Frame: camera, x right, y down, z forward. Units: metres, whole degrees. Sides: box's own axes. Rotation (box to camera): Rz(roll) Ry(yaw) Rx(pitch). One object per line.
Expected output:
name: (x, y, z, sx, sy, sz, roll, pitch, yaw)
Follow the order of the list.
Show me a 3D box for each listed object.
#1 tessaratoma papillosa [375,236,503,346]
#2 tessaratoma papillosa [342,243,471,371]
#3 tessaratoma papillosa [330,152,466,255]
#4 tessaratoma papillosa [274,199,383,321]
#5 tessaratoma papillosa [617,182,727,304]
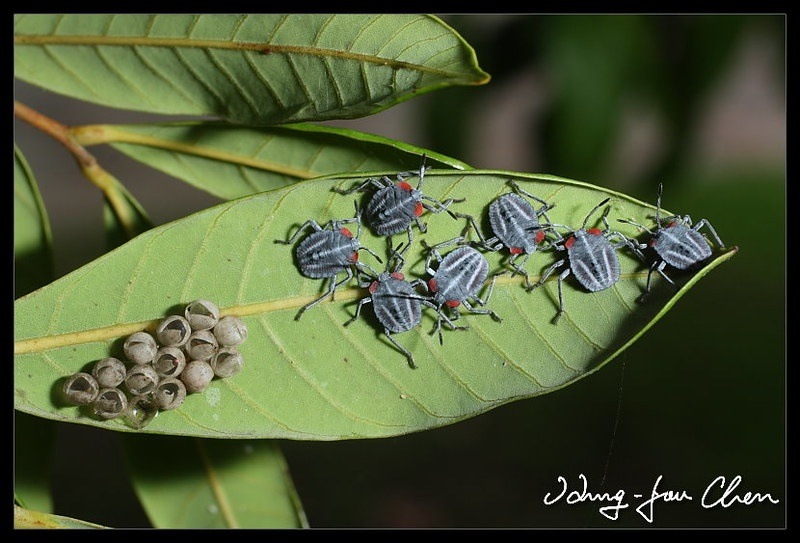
tessaratoma papillosa: (0.261, 0.153, 4.398, 0.659, 0.647, 0.202, -56, -8, -1)
tessaratoma papillosa: (-0.013, 0.196, 4.343, 0.614, 0.585, 0.168, -27, -10, -9)
tessaratoma papillosa: (0.031, -0.354, 4.155, 0.505, 0.496, 0.135, -28, 17, 21)
tessaratoma papillosa: (-0.411, -0.114, 4.278, 0.659, 0.510, 0.207, -19, 16, -17)
tessaratoma papillosa: (1.632, -0.150, 4.388, 0.594, 0.612, 0.179, -40, -10, -17)
